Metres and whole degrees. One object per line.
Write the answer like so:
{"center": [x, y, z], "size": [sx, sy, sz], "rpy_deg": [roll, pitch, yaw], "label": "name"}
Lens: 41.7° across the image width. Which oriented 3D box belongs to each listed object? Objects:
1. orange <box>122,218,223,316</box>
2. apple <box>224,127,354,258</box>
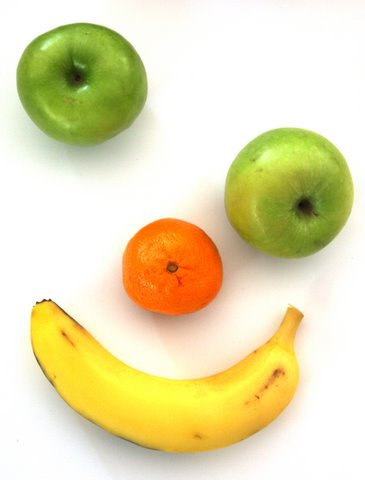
{"center": [-0.025, 0.051, 0.881], "size": [0.171, 0.183, 0.094], "rpy_deg": [1, 2, -6], "label": "orange"}
{"center": [0.210, -0.086, 0.927], "size": [0.238, 0.248, 0.128], "rpy_deg": [-12, 15, -8], "label": "apple"}
